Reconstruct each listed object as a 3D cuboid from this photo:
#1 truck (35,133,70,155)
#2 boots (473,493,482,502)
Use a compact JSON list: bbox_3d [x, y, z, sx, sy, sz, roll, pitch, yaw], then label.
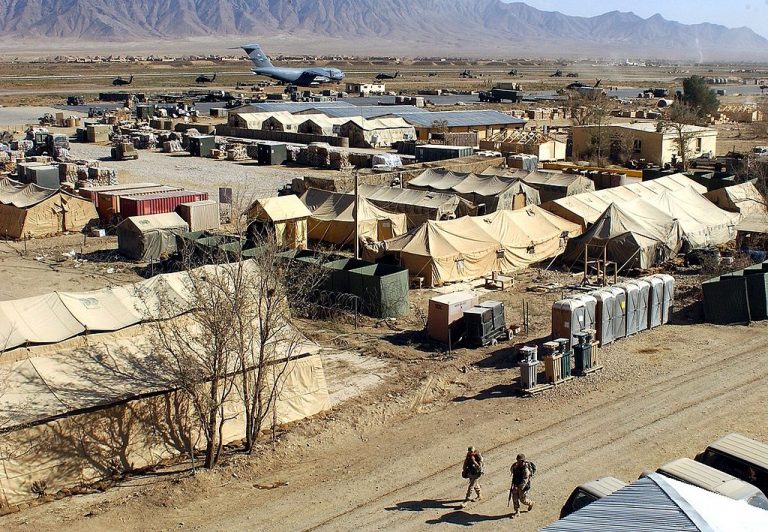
[{"bbox_3d":[-32.475,-11.984,62.920,2.631,1.695,3.849,-6,8,-40],"label":"truck"},{"bbox_3d":[2.352,5.838,16.185,0.109,0.226,0.258,12,53,33],"label":"boots"}]
